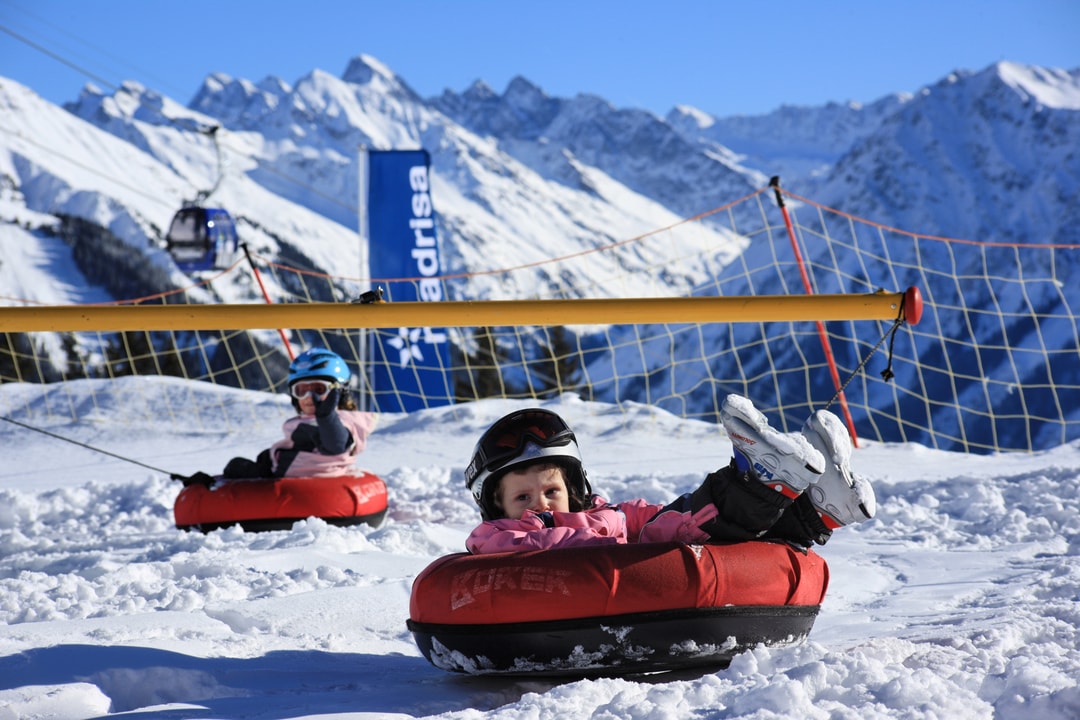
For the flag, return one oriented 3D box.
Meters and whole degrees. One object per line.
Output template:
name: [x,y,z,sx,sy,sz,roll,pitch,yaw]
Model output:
flag: [-5.013,-2.919,53.640,3.223,9.901,3.315,0,4,-7]
